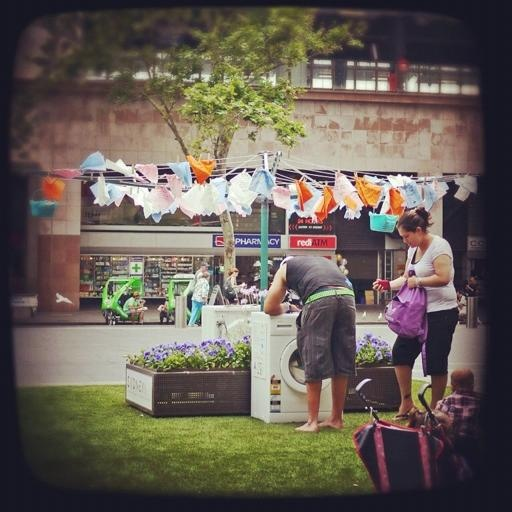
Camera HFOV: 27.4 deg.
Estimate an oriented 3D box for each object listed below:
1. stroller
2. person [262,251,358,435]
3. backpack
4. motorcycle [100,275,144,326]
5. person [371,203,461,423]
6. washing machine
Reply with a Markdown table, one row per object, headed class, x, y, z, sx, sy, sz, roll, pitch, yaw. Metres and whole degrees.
| class | x | y | z | sx | sy | sz | roll | pitch | yaw |
| --- | --- | --- | --- | --- | --- | --- | --- | --- | --- |
| stroller | 0.911 | 0.947 | 5.835 | 0.667 | 0.690 | 0.521 | -7 | -5 | -7 |
| person | 0.426 | 0.653 | 8.222 | 0.572 | 1.414 | 0.792 | 0 | -5 | -34 |
| backpack | 1.154 | 0.487 | 8.021 | 0.213 | 0.767 | 0.268 | -2 | 1 | -15 |
| motorcycle | -2.666 | 0.825 | 20.439 | 0.596 | 1.078 | 1.018 | -2 | -5 | 19 |
| person | 1.333 | 0.353 | 8.074 | 0.547 | 1.927 | 0.538 | -2 | 2 | -40 |
| washing machine | 0.301 | 0.882 | 8.549 | 0.589 | 0.919 | 0.602 | 0 | 0 | -8 |
